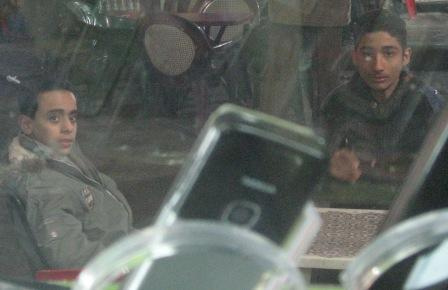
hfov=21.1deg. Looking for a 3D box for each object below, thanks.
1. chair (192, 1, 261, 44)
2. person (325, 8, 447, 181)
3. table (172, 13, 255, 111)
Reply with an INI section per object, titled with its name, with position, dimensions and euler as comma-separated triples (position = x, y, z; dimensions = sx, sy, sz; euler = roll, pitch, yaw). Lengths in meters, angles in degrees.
[chair]
position = 0.009, -0.547, 5.097
dimensions = 0.304, 0.128, 0.176
euler = -1, 9, -4
[person]
position = 0.672, -0.229, 5.075
dimensions = 0.679, 0.680, 0.432
euler = 3, 24, 19
[table]
position = 0.017, -0.363, 5.205
dimensions = 0.467, 0.463, 0.367
euler = 1, 8, 2
